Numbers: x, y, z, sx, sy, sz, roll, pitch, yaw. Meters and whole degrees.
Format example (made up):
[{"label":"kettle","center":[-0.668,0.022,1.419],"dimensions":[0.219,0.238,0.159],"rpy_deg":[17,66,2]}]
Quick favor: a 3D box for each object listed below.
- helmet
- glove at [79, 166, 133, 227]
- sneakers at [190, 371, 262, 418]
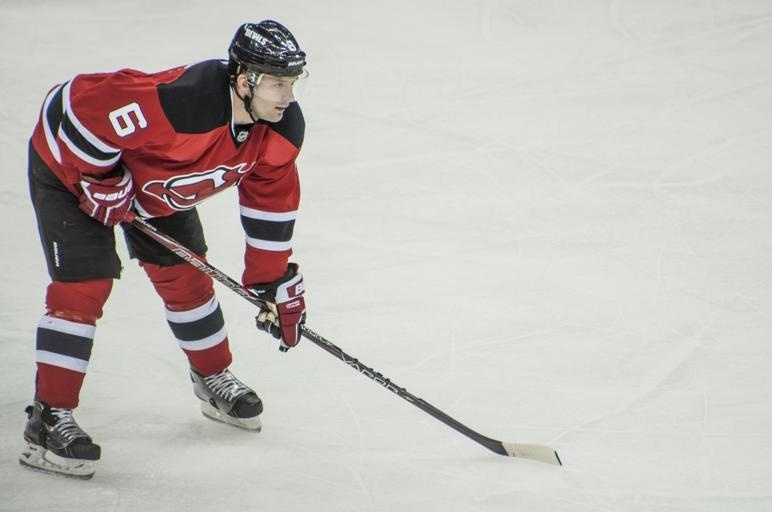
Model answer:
[{"label":"helmet","center":[-0.508,-0.861,4.212],"dimensions":[0.337,0.305,0.282],"rpy_deg":[19,30,19]},{"label":"glove","center":[-1.184,-0.249,4.159],"dimensions":[0.248,0.230,0.109],"rpy_deg":[-15,5,-38]},{"label":"sneakers","center":[-0.751,0.623,4.577],"dimensions":[0.154,0.157,0.392],"rpy_deg":[-38,33,-30]}]
